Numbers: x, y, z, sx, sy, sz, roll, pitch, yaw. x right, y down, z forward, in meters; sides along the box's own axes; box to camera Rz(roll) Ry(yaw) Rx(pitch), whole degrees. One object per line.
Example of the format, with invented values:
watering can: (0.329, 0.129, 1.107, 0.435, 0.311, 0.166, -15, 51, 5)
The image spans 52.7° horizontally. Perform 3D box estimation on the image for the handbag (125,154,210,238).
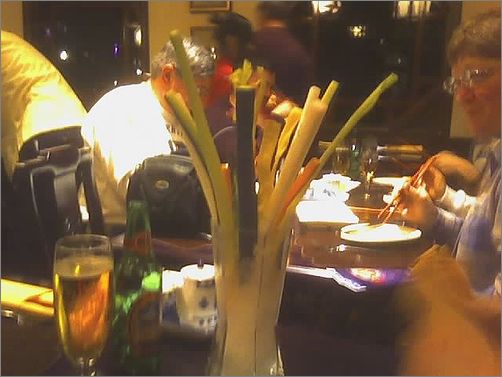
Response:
handbag: (-0.240, 0.009, 1.539, 0.248, 0.268, 0.257, -1, 11, -3)

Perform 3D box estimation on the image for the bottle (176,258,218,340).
bottle: (-0.121, 0.256, 1.134, 0.092, 0.128, 0.064, 4, 15, 5)
